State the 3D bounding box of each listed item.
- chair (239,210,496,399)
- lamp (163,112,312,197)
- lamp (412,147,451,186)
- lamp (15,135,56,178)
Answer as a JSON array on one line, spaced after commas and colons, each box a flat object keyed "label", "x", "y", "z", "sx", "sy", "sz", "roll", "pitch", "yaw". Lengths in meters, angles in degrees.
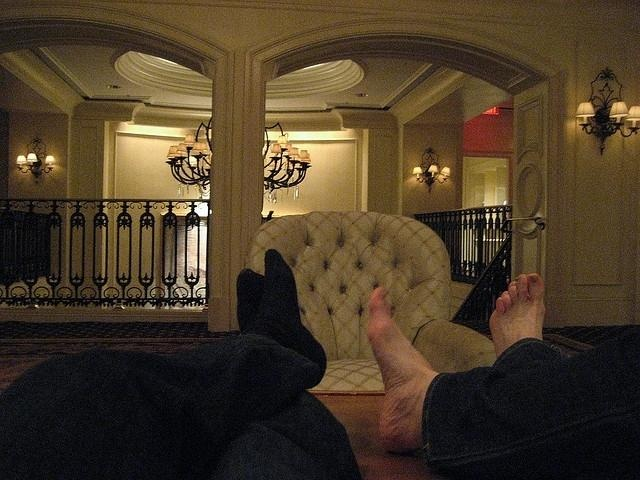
[{"label": "chair", "x": 0.178, "y": 0.198, "z": 2.108, "sx": 0.690, "sy": 0.825, "sz": 0.731, "roll": 1, "pitch": -13, "yaw": -8}, {"label": "lamp", "x": -1.066, "y": -0.982, "z": 6.587, "sx": 1.793, "sy": 0.973, "sz": 1.675, "roll": 0, "pitch": 1, "yaw": -9}, {"label": "lamp", "x": 1.746, "y": -1.199, "z": 8.489, "sx": 0.607, "sy": 0.726, "sz": 0.235, "roll": 0, "pitch": -3, "yaw": -16}, {"label": "lamp", "x": -4.248, "y": -1.255, "z": 7.835, "sx": 0.574, "sy": 0.765, "sz": 0.277, "roll": 2, "pitch": 8, "yaw": -5}]
